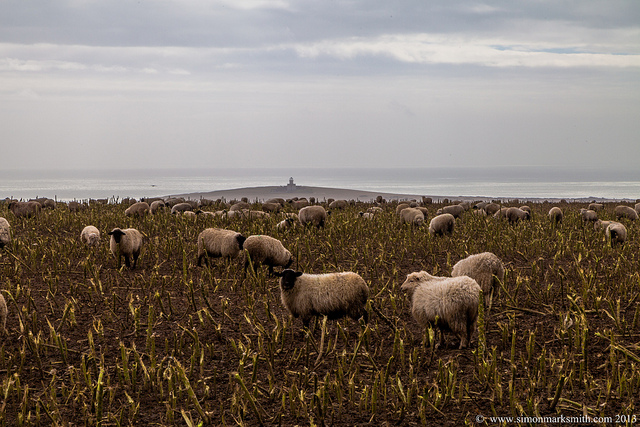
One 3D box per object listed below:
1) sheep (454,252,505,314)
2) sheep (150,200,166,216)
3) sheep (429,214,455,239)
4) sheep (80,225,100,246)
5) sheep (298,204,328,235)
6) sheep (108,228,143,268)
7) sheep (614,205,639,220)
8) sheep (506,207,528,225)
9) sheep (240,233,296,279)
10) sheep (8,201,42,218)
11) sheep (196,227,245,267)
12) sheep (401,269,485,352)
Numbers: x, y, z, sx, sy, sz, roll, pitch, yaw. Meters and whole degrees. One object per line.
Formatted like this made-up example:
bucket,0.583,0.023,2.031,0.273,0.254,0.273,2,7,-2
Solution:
sheep,4.199,1.773,19.841,0.840,1.354,1.804,7,-8,-26
sheep,-7.511,-0.253,34.667,0.581,0.705,1.251,-1,-3,-17
sheep,4.377,0.426,26.859,0.874,0.734,0.547,1,15,7
sheep,-7.401,0.757,24.124,0.404,0.599,1.143,-3,1,-21
sheep,-0.369,0.307,29.333,1.437,1.145,0.706,-5,-10,41
sheep,-5.842,1.070,22.323,0.679,1.177,1.704,1,0,2
sheep,13.475,0.038,32.751,0.866,0.632,1.643,3,16,14
sheep,8.423,0.105,32.362,0.754,0.576,1.285,8,17,27
sheep,-1.668,1.310,21.645,1.140,1.296,1.947,7,17,25
sheep,-12.472,-0.130,31.865,1.078,0.546,1.644,-9,17,-28
sheep,-2.935,1.070,22.817,1.632,1.180,0.833,2,8,23
sheep,2.957,2.394,18.092,1.151,1.873,2.258,6,-6,-43
